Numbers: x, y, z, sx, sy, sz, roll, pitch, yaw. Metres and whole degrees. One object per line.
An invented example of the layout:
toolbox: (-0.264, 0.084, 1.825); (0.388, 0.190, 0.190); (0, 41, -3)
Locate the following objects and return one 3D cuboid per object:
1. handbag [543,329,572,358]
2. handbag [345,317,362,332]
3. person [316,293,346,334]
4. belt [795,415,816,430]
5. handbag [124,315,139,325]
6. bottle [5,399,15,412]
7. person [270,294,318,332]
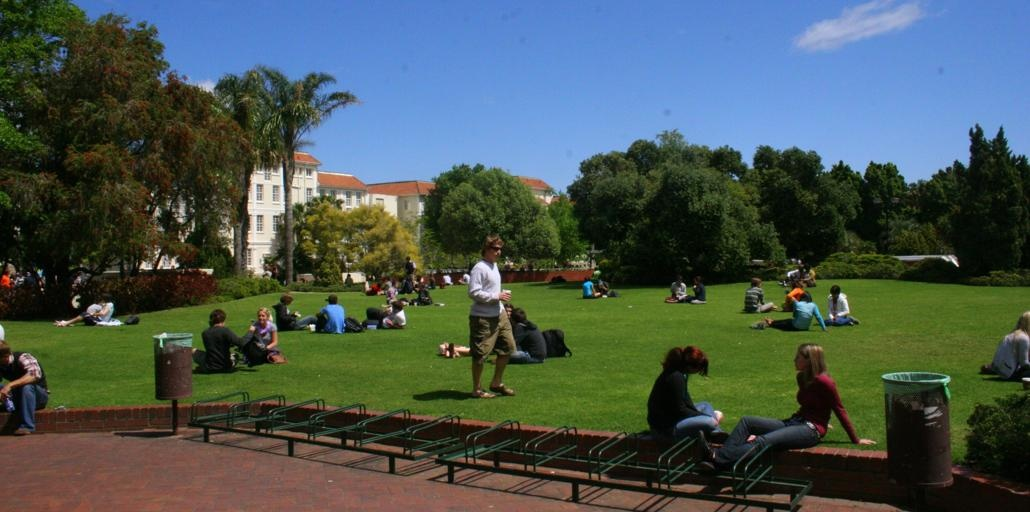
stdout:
handbag: (1.700, 3.309, 31.665); (1.090, 1.015, 1.165); (-1, 8, 26)
handbag: (-7.077, 3.093, 36.333); (0.565, 0.297, 0.739); (-1, -16, 33)
person: (-8.068, 2.542, 36.046); (1.196, 1.686, 1.120); (1, -3, -28)
belt: (9.007, 5.154, 25.450); (0.468, 0.112, 0.275); (37, 38, 15)
handbag: (-18.409, 3.041, 39.256); (0.502, 0.201, 0.632); (-1, -5, -40)
bottle: (-16.982, 4.959, 27.485); (0.357, 0.440, 0.071); (-1, -3, 4)
person: (-9.934, 2.487, 36.821); (2.233, 1.386, 1.214); (0, 7, -34)
